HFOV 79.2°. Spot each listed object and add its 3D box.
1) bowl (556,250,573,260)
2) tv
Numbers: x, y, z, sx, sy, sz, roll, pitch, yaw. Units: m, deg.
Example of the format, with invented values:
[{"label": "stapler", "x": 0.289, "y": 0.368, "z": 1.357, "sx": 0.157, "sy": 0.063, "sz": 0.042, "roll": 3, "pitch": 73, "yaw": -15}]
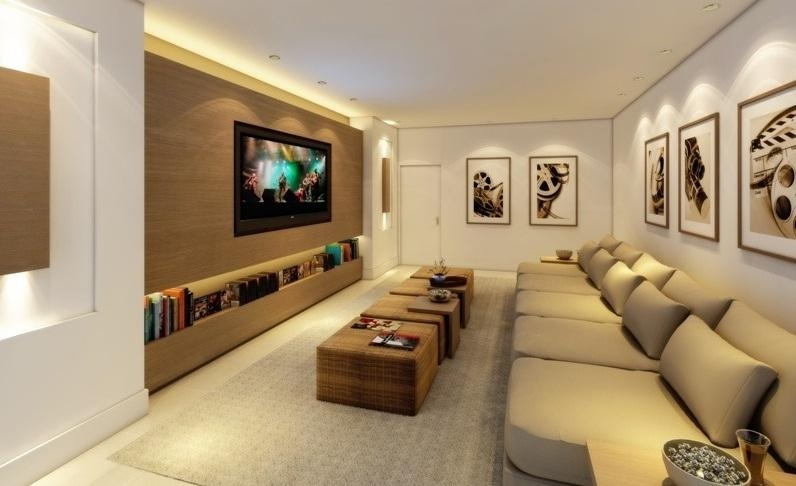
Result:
[{"label": "bowl", "x": 2.550, "y": 0.189, "z": 7.408, "sx": 0.217, "sy": 0.112, "sz": 0.215, "roll": -2, "pitch": -1, "yaw": 0}, {"label": "tv", "x": -1.477, "y": -0.807, "z": 6.044, "sx": 0.046, "sy": 1.112, "sz": 1.679, "roll": 5, "pitch": 5, "yaw": 26}]
